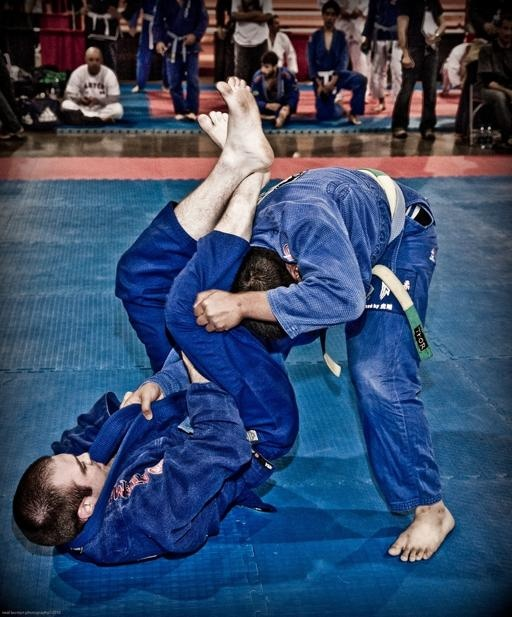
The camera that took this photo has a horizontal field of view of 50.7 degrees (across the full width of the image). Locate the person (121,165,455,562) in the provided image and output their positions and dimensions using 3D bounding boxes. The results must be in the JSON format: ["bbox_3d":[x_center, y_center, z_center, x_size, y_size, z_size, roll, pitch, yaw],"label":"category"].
[{"bbox_3d":[0.119,0.156,1.865,0.951,1.051,1.150,-16,7,-31],"label":"person"}]
